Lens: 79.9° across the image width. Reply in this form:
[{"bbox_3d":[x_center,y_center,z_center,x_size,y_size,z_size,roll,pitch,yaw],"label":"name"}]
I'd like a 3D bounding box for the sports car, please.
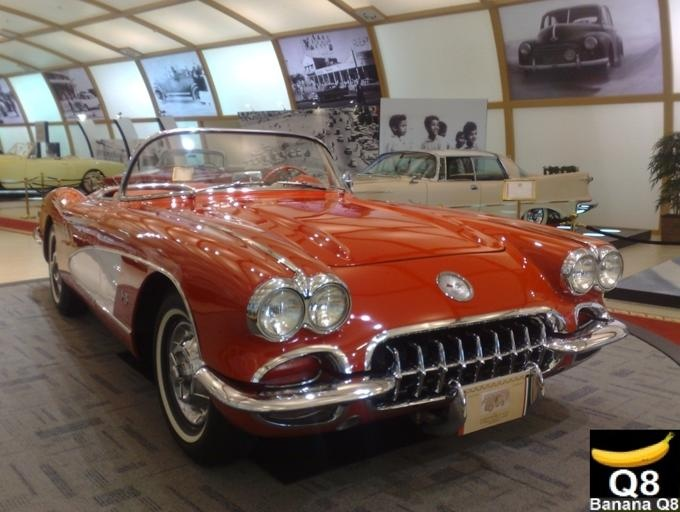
[{"bbox_3d":[-0.480,-0.031,2.784,2.148,0.949,3.415,0,9,-37],"label":"sports car"}]
